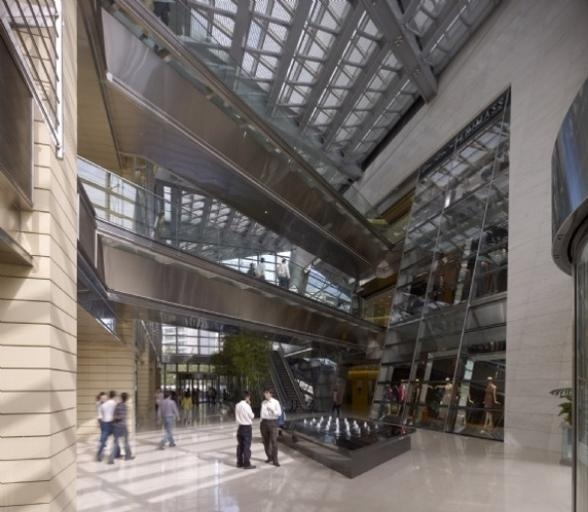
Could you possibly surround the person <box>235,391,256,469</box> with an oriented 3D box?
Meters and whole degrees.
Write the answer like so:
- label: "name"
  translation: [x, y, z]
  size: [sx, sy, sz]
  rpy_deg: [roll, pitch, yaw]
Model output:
- label: "person"
  translation: [-1.066, 3.744, 9.743]
  size: [0.382, 1.482, 1.461]
  rpy_deg: [0, -11, -7]
